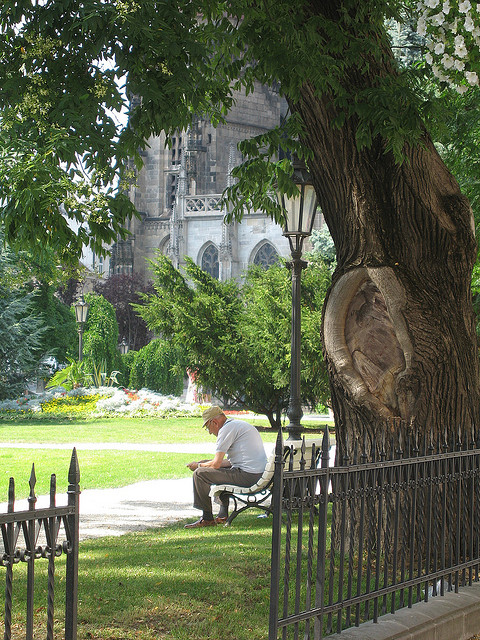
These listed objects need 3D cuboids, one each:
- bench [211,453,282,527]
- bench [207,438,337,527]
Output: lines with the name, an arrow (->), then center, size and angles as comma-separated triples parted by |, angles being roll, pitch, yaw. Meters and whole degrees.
bench -> 0.105, 1.478, 12.273 | 0.635, 0.784, 0.562 | 6, -3, -4
bench -> 0.259, 1.368, 12.636 | 0.576, 0.877, 1.470 | 4, 6, 14
